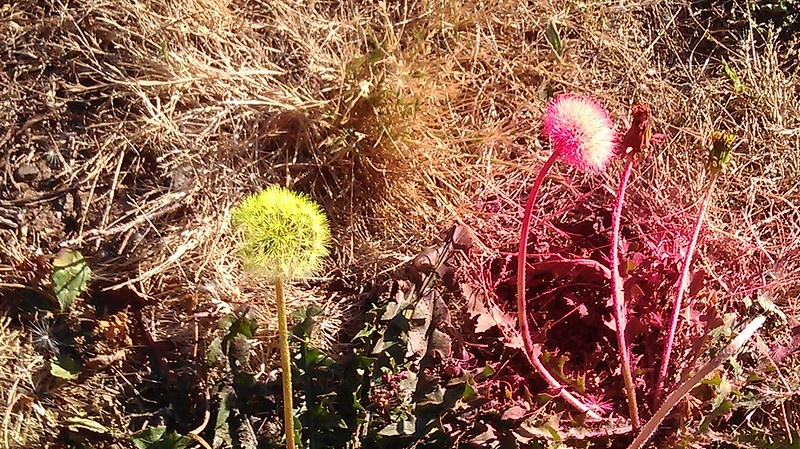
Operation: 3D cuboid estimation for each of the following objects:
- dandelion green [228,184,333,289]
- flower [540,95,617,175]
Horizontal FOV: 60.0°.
[{"bbox_3d":[-0.366,0.032,2.260,0.328,0.301,0.296,-2,49,-8],"label":"dandelion green"},{"bbox_3d":[0.621,-0.379,2.528,0.252,0.159,0.220,2,-22,-26],"label":"flower"}]
